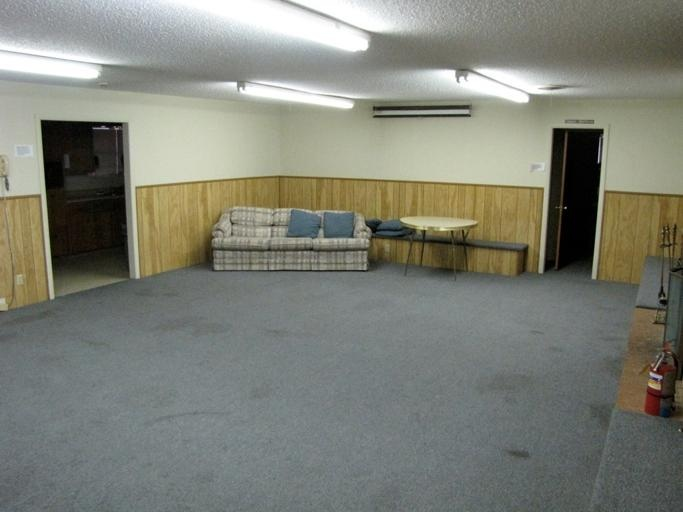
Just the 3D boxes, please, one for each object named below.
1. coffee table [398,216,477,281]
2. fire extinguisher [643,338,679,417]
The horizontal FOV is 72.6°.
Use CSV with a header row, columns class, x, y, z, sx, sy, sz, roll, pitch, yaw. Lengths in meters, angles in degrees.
class,x,y,z,sx,sy,sz,roll,pitch,yaw
coffee table,1.633,-0.137,8.175,1.282,0.882,1.134,7,12,39
fire extinguisher,1.997,0.788,2.883,0.194,0.391,0.139,-7,11,-35
